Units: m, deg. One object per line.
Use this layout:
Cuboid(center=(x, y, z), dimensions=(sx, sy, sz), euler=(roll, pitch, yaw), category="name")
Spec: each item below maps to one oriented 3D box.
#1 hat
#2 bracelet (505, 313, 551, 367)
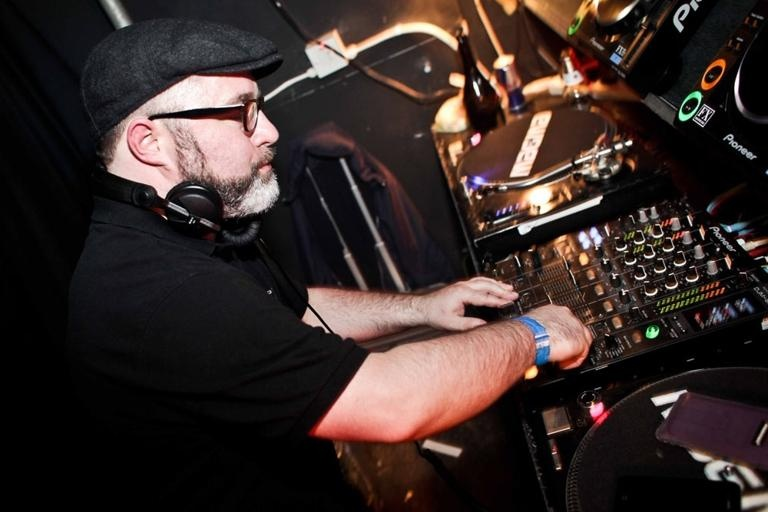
Cuboid(center=(-0.605, -0.530, 1.762), dimensions=(0.468, 0.227, 0.321), euler=(-27, 35, 1), category="hat")
Cuboid(center=(0.405, 0.237, 1.675), dimensions=(0.027, 0.115, 0.118), euler=(-11, 81, -17), category="bracelet")
